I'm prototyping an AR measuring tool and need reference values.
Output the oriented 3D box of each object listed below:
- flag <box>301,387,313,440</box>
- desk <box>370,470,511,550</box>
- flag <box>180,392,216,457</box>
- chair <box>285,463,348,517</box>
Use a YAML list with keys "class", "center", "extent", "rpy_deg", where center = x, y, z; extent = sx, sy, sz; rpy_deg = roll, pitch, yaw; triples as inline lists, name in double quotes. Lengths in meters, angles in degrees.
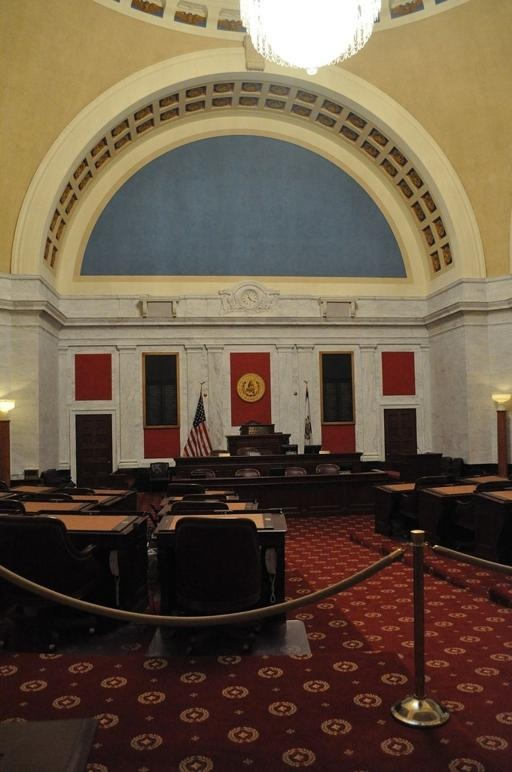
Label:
- class: "flag"
  center: [1.468, 0.787, 16.460]
  extent: [0.248, 1.612, 0.203]
  rpy_deg: [1, -5, -6]
- class: "desk"
  center: [2.281, 1.542, 7.360]
  extent: [0.727, 0.813, 2.001]
  rpy_deg: [3, -5, -22]
- class: "flag"
  center: [-1.310, 0.923, 13.911]
  extent: [0.691, 1.750, 0.126]
  rpy_deg: [-3, 29, -17]
- class: "chair"
  center: [1.017, 1.805, 9.943]
  extent: [0.888, 0.445, 0.665]
  rpy_deg: [0, -6, -3]
